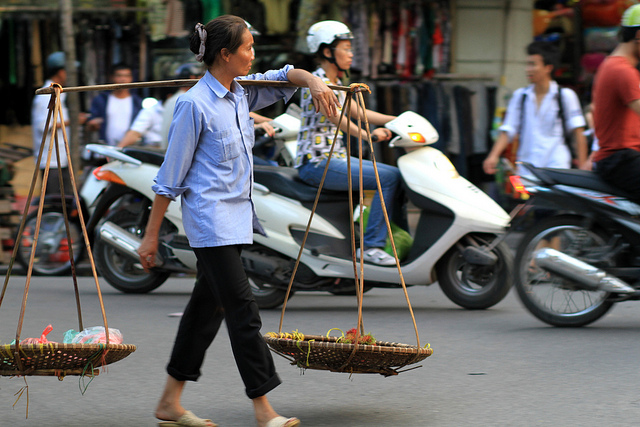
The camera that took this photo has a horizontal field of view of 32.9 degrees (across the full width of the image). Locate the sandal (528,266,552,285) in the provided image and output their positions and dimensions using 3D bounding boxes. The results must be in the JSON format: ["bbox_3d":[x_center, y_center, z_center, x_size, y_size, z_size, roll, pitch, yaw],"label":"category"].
[{"bbox_3d":[1.953,0.566,9.665,0.218,0.128,0.117,-1,3,17],"label":"sandal"}]

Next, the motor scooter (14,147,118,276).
[{"bbox_3d":[-2.947,0.129,12.411,2.143,1.290,1.111,-1,2,4],"label":"motor scooter"}]

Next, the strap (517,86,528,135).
[{"bbox_3d":[2.118,-1.089,11.404,0.078,0.500,0.072,3,13,-1],"label":"strap"}]

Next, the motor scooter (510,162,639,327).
[{"bbox_3d":[2.278,0.296,9.679,1.107,1.441,0.512,1,13,13],"label":"motor scooter"}]

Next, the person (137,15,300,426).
[{"bbox_3d":[-0.738,0.088,7.700,0.974,2.927,0.785,-1,13,4],"label":"person"}]

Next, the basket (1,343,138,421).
[{"bbox_3d":[-1.763,1.021,7.595,0.917,0.290,0.191,-3,12,-6],"label":"basket"}]

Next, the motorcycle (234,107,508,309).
[{"bbox_3d":[0.395,-0.013,10.613,2.981,1.834,1.007,0,6,23],"label":"motorcycle"}]

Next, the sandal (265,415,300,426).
[{"bbox_3d":[-0.257,1.466,7.611,0.150,0.046,0.089,6,0,5],"label":"sandal"}]

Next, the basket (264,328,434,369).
[{"bbox_3d":[0.217,1.001,7.972,1.181,0.249,0.509,2,12,17],"label":"basket"}]
